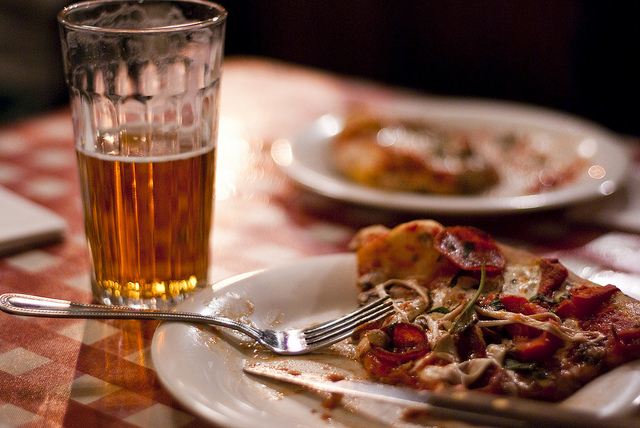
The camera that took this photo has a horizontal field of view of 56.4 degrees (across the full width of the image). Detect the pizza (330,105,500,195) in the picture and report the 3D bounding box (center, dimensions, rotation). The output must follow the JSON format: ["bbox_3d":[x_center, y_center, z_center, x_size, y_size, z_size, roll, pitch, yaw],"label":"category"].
[{"bbox_3d":[0.248,-0.157,1.604,0.325,0.091,0.266,8,23,-9],"label":"pizza"}]
